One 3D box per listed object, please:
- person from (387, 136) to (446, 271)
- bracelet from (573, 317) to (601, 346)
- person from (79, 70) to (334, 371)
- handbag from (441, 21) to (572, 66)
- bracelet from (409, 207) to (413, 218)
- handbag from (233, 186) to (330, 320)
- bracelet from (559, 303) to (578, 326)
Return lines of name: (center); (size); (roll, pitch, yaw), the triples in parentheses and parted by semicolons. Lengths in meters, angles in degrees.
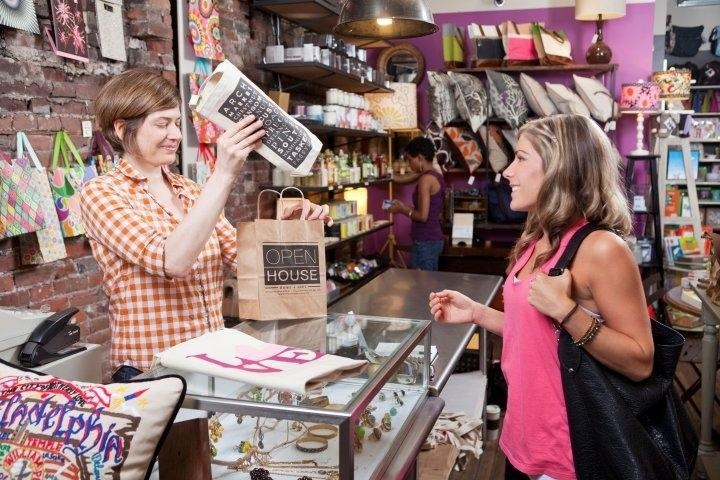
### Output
person: (0.616, -0.342, 5.539); (0.537, 1.595, 0.596); (-2, 23, -9)
bracelet: (0.729, 0.295, 1.555); (0.023, 0.083, 0.084); (35, 52, 8)
person: (-0.618, 0.270, 1.999); (0.790, 1.703, 0.707); (7, 13, 26)
handbag: (1.780, -2.371, 5.957); (1.508, 0.517, 0.340); (6, 11, 21)
bracelet: (0.563, -0.295, 5.386); (0.050, 0.082, 0.119); (2, 11, 3)
handbag: (-0.315, 0.022, 1.825); (0.323, 0.446, 0.251); (-5, 15, -21)
bracelet: (0.669, 0.241, 1.563); (0.015, 0.060, 0.063); (39, 15, 18)
